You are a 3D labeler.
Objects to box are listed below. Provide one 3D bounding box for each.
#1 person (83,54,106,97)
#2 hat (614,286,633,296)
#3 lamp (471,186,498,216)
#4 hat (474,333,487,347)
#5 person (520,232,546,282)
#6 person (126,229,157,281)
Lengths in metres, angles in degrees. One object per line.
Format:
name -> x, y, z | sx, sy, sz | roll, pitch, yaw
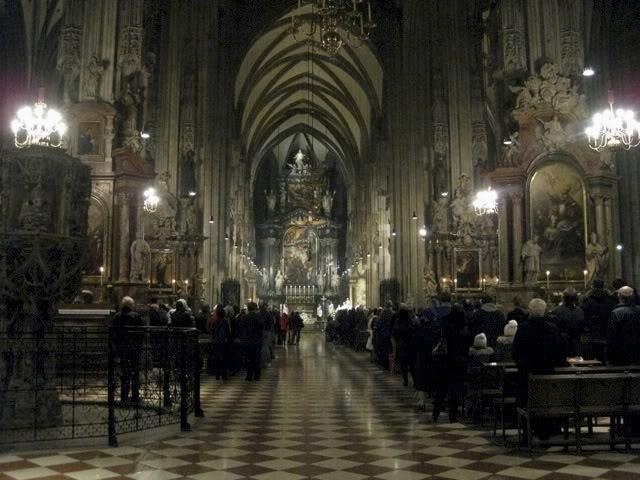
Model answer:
person -> -5.411, -3.944, 18.061 | 0.504, 1.108, 0.139 | 2, -9, -23
hat -> 4.535, 0.759, 11.132 | 0.182, 0.080, 0.215 | -2, 2, 12
lamp -> 4.912, -1.140, 22.174 | 0.810, 1.049, 0.815 | 1, -6, -3
hat -> 2.669, 1.693, 12.525 | 0.204, 0.211, 0.213 | 5, -9, -42
person -> 5.255, 0.571, 18.478 | 0.503, 1.051, 0.240 | -4, -9, 16
person -> -4.511, 0.430, 18.473 | 0.462, 1.304, 0.688 | 1, -9, -17
